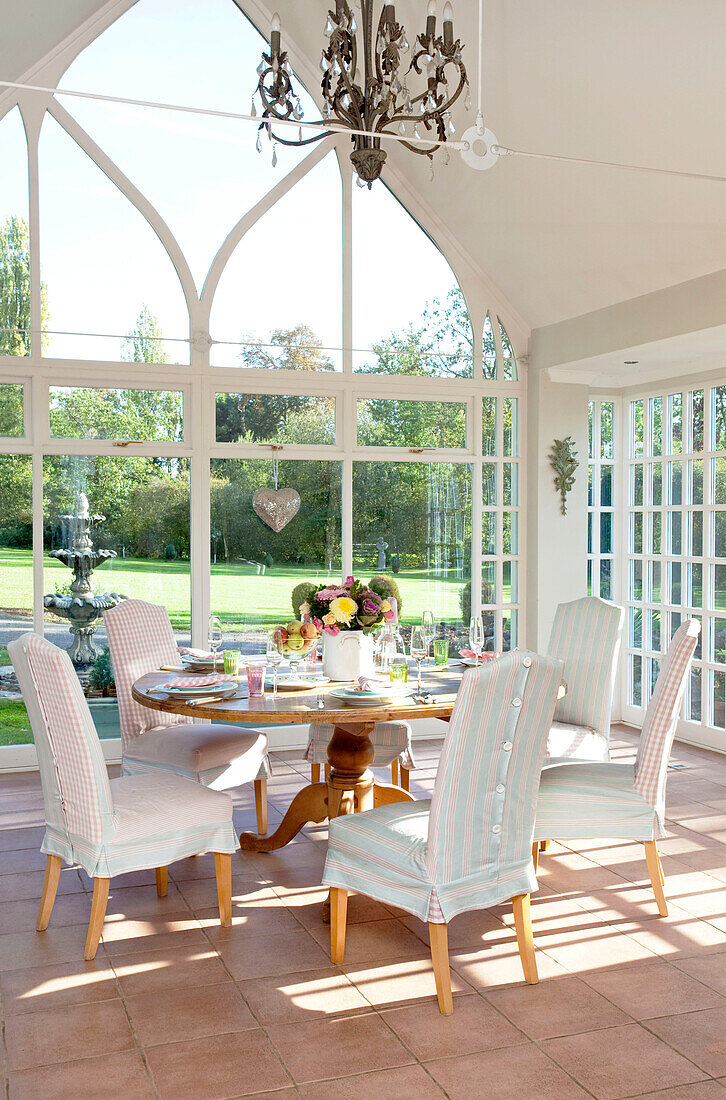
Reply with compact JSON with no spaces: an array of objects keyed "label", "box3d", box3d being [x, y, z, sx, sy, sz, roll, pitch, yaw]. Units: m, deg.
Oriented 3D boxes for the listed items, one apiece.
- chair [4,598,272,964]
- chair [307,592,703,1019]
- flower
[{"label":"chair","box3d":[-0.837,0.666,3.271,0.861,1.349,0.796,-3,3,-34]},{"label":"chair","box3d":[0.551,0.710,2.980,1.542,0.971,1.029,1,-1,-28]},{"label":"flower","box3d":[-0.090,0.179,3.237,0.302,0.215,0.301,-10,-1,-16]}]
